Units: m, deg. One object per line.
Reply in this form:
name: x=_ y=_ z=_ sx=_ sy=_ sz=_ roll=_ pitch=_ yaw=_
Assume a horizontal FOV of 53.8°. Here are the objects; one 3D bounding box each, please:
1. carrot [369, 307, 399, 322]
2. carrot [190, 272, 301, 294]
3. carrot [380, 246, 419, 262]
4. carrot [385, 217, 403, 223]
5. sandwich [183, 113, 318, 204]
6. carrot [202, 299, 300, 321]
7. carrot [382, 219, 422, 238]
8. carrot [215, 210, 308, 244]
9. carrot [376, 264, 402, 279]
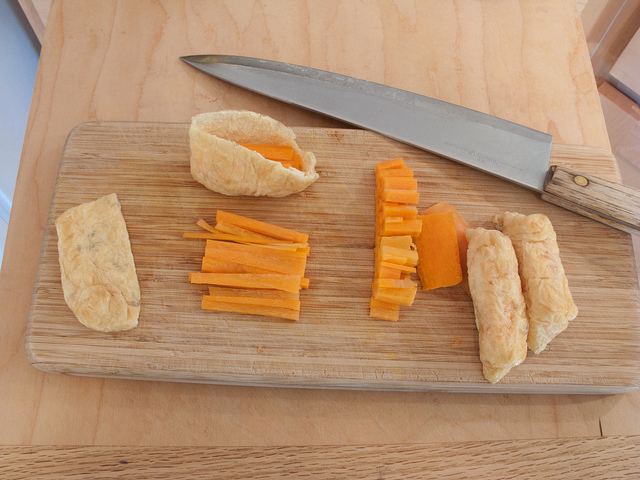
carrot: x=0.280 y=0.319 z=2.726 sx=0.131 sy=0.038 sz=0.034 roll=10 pitch=43 yaw=0
carrot: x=-0.321 y=0.166 z=2.707 sx=0.467 sy=0.079 sz=0.067 roll=8 pitch=43 yaw=-2
carrot: x=0.347 y=0.057 z=2.737 sx=0.163 sy=0.036 sz=0.049 roll=8 pitch=42 yaw=-2
carrot: x=0.322 y=-0.091 z=2.760 sx=0.098 sy=0.026 sz=0.029 roll=1 pitch=0 yaw=-1
sandwich: x=-0.334 y=-0.348 z=2.824 sx=0.531 sy=0.237 sz=0.346 roll=14 pitch=44 yaw=-6
carrot: x=-0.299 y=0.293 z=2.703 sx=0.416 sy=0.049 sz=0.041 roll=8 pitch=43 yaw=-1
carrot: x=0.369 y=-0.061 z=2.775 sx=0.201 sy=0.068 sz=0.043 roll=-2 pitch=12 yaw=1
carrot: x=-0.252 y=-0.020 z=2.764 sx=0.437 sy=0.075 sz=0.062 roll=9 pitch=16 yaw=-22
carrot: x=0.303 y=0.142 z=2.723 sx=0.123 sy=0.062 sz=0.061 roll=4 pitch=20 yaw=-3
